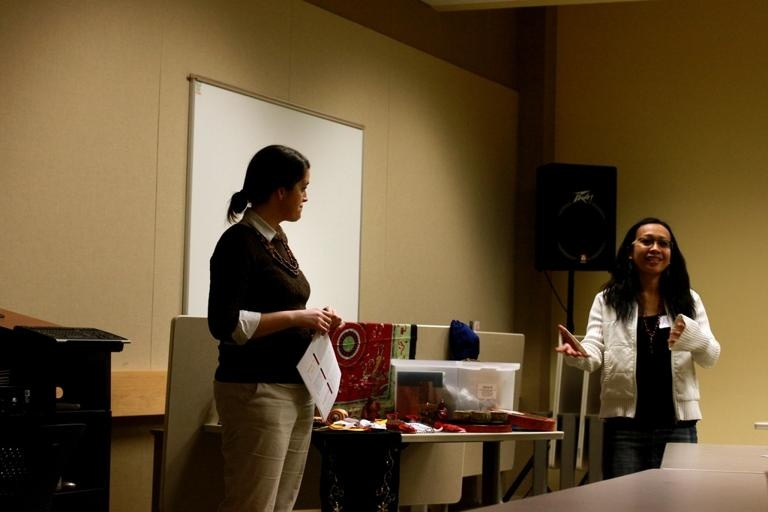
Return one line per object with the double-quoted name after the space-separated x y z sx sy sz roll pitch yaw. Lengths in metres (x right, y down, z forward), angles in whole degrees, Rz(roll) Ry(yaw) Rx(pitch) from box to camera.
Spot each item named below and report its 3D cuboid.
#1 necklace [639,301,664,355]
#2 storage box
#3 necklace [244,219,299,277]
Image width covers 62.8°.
1.463 0.404 3.411 0.099 0.180 0.047 -1 -19 7 "necklace"
0.350 0.687 3.252 0.622 0.278 0.072 2 -9 0 "storage box"
-0.455 -0.028 2.663 0.033 0.201 0.245 -35 -51 19 "necklace"
